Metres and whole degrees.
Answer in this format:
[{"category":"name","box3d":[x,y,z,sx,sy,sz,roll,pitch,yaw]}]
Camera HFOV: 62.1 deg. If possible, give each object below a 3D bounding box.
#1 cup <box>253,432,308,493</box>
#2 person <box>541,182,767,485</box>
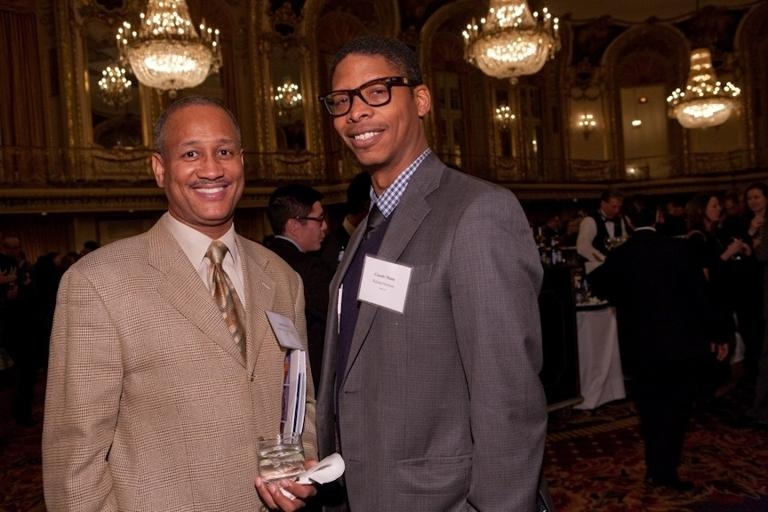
[{"category":"cup","box3d":[-0.511,1.003,3.127,0.217,0.199,0.226,-3,-9,0]},{"category":"person","box3d":[2.388,0.711,5.447,1.057,2.379,0.641,-1,10,7]}]
